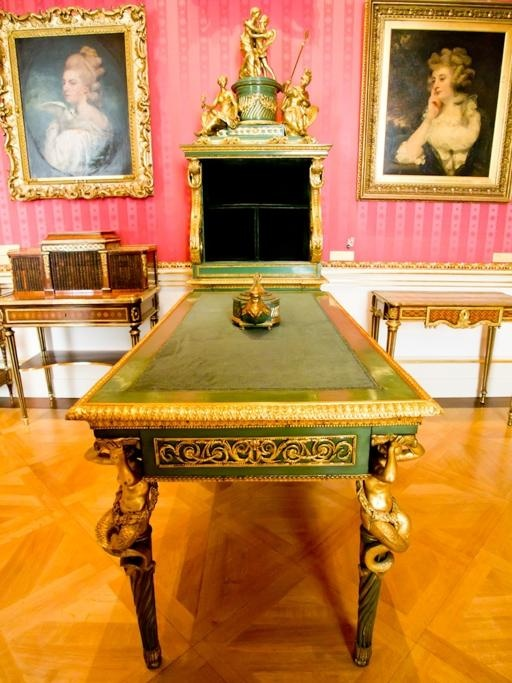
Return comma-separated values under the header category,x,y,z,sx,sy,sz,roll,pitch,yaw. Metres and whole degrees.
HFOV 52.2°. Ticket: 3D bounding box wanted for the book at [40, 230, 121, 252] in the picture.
category,x,y,z,sx,sy,sz,roll,pitch,yaw
book,-1.069,-0.613,3.205,0.473,0.105,0.246,-8,19,-22
